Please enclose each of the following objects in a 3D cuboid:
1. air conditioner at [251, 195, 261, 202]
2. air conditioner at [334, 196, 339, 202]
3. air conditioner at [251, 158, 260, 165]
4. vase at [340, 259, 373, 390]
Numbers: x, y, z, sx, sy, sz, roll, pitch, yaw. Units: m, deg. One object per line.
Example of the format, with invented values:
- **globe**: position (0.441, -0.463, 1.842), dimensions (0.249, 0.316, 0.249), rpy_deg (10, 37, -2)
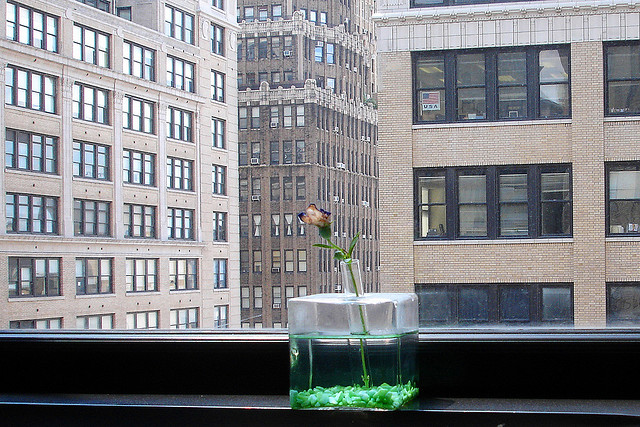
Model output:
- **air conditioner**: position (-1.723, -0.387, 32.917), dimensions (0.226, 0.144, 0.150), rpy_deg (1, 2, 1)
- **air conditioner**: position (0.438, -0.367, 32.477), dimensions (0.204, 0.148, 0.110), rpy_deg (-1, -8, 18)
- **air conditioner**: position (-1.828, -1.441, 34.606), dimensions (0.139, 0.124, 0.197), rpy_deg (-1, -10, 3)
- **vase**: position (0.178, 0.550, 6.000), dimensions (0.143, 0.633, 0.086), rpy_deg (-2, -6, 1)
